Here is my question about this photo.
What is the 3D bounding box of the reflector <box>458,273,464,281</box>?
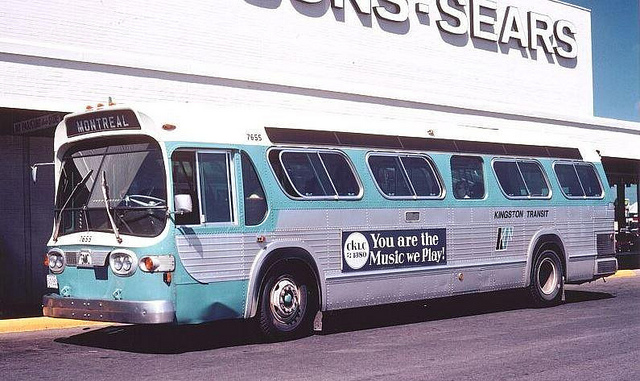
[{"bbox_3d":[3.466,2.127,12.108,0.191,0.183,0.081,3,-7,-42],"label":"reflector"}]

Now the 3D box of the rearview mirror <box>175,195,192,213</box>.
[{"bbox_3d":[-2.386,0.226,8.541,0.295,0.285,0.272,-1,7,5],"label":"rearview mirror"}]

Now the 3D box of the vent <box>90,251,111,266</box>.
[{"bbox_3d":[-4.043,1.237,8.954,0.443,0.257,0.076,-3,-5,35],"label":"vent"}]

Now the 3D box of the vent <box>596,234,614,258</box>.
[{"bbox_3d":[8.593,1.686,14.831,0.722,0.645,0.439,4,-9,-41],"label":"vent"}]

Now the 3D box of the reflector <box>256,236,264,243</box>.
[{"bbox_3d":[-1.172,0.949,9.517,0.106,0.105,0.153,-1,0,33],"label":"reflector"}]

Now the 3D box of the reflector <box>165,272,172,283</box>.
[{"bbox_3d":[-2.662,1.523,8.616,0.085,0.133,0.033,4,-5,-32],"label":"reflector"}]
